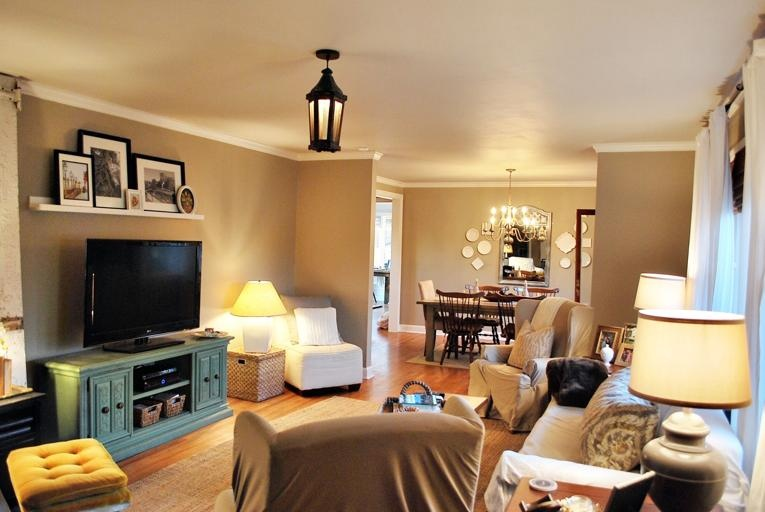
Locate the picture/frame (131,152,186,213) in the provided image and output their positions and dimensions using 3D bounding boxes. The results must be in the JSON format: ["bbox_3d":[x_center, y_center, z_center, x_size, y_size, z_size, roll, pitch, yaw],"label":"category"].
[{"bbox_3d":[-2.323,-0.734,5.510,0.031,0.549,0.662,6,5,20],"label":"picture/frame"}]

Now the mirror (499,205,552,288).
[{"bbox_3d":[2.637,-0.166,9.792,0.934,1.592,0.039,4,-18,5],"label":"mirror"}]

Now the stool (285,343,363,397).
[{"bbox_3d":[-0.717,1.366,6.549,0.925,0.506,0.354,-2,2,-12],"label":"stool"}]

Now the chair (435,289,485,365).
[{"bbox_3d":[1.236,1.108,8.270,0.697,1.119,0.739,1,2,12],"label":"chair"}]

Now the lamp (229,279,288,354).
[{"bbox_3d":[-1.450,0.716,6.511,0.798,0.922,0.777,1,3,14],"label":"lamp"}]

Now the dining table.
[{"bbox_3d":[1.299,1.022,8.363,1.043,1.347,0.952,1,4,24],"label":"dining table"}]

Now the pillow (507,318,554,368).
[{"bbox_3d":[1.658,1.019,5.923,0.329,0.538,0.589,11,-5,-18],"label":"pillow"}]

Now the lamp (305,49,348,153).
[{"bbox_3d":[-0.391,-1.075,3.685,0.260,0.764,0.600,-2,2,-6],"label":"lamp"}]

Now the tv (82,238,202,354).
[{"bbox_3d":[-2.363,0.385,5.267,0.277,1.078,1.261,3,3,34],"label":"tv"}]

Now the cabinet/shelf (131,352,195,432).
[{"bbox_3d":[-2.288,1.375,5.266,0.447,0.582,0.626,-10,-4,24],"label":"cabinet/shelf"}]

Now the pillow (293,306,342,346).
[{"bbox_3d":[-0.824,0.892,6.740,0.561,0.472,0.264,-2,2,-13],"label":"pillow"}]

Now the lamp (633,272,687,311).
[{"bbox_3d":[2.749,0.370,5.180,0.462,0.346,0.469,8,-2,4],"label":"lamp"}]

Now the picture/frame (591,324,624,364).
[{"bbox_3d":[2.288,0.900,5.348,0.043,0.421,0.326,19,-13,-37],"label":"picture/frame"}]

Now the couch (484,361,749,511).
[{"bbox_3d":[1.548,0.776,3.544,1.187,0.643,1.639,-2,-2,28],"label":"couch"}]

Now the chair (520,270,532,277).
[{"bbox_3d":[2.660,0.316,9.726,0.141,0.153,0.129,-6,-7,33],"label":"chair"}]

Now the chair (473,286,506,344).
[{"bbox_3d":[1.668,0.984,8.453,0.486,0.844,0.532,8,0,7],"label":"chair"}]

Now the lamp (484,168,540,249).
[{"bbox_3d":[2.249,-0.865,9.363,1.099,1.200,1.067,0,2,-34],"label":"lamp"}]

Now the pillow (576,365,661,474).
[{"bbox_3d":[1.777,1.206,4.057,0.530,0.612,1.335,10,2,20],"label":"pillow"}]

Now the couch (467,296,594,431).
[{"bbox_3d":[1.676,1.139,6.012,1.119,1.212,1.021,-1,2,-31],"label":"couch"}]
